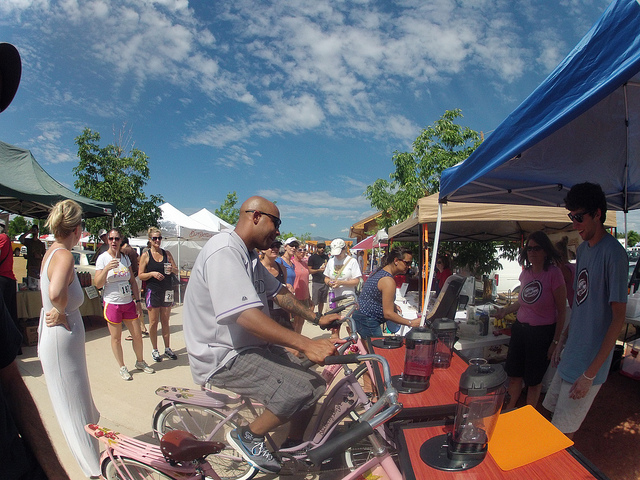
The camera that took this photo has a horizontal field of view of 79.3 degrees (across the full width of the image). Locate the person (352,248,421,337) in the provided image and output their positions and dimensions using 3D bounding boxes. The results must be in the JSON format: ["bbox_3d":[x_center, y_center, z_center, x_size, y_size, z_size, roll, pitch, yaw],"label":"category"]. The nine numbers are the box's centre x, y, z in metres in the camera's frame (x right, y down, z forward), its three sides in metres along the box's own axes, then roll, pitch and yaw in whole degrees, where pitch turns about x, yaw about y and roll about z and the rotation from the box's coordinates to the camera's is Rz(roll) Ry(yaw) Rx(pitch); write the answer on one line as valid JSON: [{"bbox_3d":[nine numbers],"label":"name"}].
[{"bbox_3d":[1.105,0.808,6.023,0.954,1.706,0.758,0,44,-1],"label":"person"}]

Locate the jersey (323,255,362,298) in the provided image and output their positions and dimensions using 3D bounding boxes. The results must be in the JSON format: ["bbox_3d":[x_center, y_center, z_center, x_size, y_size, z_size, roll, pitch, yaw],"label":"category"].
[{"bbox_3d":[0.495,0.730,7.697,0.578,0.795,0.703,-2,8,-17],"label":"jersey"}]

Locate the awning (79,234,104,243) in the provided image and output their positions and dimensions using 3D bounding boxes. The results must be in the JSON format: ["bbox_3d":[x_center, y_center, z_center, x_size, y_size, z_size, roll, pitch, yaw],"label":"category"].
[{"bbox_3d":[-9.582,-0.029,16.124,1.166,0.439,1.129,-2,1,-18],"label":"awning"}]

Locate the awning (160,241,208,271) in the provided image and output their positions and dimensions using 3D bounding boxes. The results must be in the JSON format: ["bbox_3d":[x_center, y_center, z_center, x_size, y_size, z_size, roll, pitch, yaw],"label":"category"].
[{"bbox_3d":[-3.900,0.362,10.946,1.314,0.935,1.330,-6,-7,40],"label":"awning"}]

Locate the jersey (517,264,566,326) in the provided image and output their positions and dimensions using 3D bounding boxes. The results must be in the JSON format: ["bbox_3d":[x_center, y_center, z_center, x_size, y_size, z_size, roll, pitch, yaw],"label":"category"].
[{"bbox_3d":[2.386,0.612,4.131,0.330,0.552,0.583,9,-13,-11],"label":"jersey"}]

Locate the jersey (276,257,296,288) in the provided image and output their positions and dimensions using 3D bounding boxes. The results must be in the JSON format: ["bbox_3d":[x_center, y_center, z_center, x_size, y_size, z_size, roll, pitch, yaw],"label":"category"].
[{"bbox_3d":[-0.559,0.524,6.246,0.298,0.523,0.556,0,-8,26],"label":"jersey"}]

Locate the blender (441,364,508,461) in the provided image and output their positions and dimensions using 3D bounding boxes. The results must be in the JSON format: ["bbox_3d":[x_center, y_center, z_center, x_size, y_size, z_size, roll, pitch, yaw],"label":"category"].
[{"bbox_3d":[0.936,0.991,2.274,0.433,0.509,0.212,-1,8,-15],"label":"blender"}]

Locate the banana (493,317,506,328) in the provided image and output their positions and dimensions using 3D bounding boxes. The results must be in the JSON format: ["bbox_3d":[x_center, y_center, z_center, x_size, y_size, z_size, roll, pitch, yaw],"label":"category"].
[{"bbox_3d":[2.504,1.164,5.356,0.044,0.126,0.129,12,-14,-31],"label":"banana"}]

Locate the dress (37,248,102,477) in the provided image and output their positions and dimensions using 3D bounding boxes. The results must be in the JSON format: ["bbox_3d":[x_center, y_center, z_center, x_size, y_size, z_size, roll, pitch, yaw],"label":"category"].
[{"bbox_3d":[-2.223,1.097,3.393,0.377,2.031,0.471,-5,10,-37],"label":"dress"}]

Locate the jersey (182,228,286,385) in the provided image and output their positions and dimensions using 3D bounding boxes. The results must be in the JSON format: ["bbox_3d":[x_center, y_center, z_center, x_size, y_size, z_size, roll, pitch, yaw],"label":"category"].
[{"bbox_3d":[-0.652,0.549,3.057,0.800,1.274,0.775,6,6,-6],"label":"jersey"}]

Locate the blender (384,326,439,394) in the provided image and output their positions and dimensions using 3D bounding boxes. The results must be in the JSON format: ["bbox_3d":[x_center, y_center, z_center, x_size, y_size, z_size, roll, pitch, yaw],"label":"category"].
[{"bbox_3d":[0.630,0.846,2.845,0.344,0.488,0.376,4,2,4],"label":"blender"}]

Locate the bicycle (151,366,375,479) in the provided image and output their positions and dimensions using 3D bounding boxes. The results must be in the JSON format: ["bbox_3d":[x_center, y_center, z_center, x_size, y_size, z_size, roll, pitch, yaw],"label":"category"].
[{"bbox_3d":[-0.500,1.762,3.850,2.048,1.216,1.010,-12,-13,0],"label":"bicycle"}]

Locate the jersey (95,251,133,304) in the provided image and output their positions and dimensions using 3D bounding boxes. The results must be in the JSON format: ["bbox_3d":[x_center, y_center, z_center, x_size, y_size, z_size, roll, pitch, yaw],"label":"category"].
[{"bbox_3d":[-2.947,0.510,5.543,0.383,0.730,0.600,0,2,16],"label":"jersey"}]

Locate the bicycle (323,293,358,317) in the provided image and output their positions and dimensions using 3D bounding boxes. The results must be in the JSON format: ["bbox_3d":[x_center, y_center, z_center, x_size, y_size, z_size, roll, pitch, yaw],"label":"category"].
[{"bbox_3d":[0.217,0.660,3.715,0.270,0.085,0.265,-13,36,16],"label":"bicycle"}]
